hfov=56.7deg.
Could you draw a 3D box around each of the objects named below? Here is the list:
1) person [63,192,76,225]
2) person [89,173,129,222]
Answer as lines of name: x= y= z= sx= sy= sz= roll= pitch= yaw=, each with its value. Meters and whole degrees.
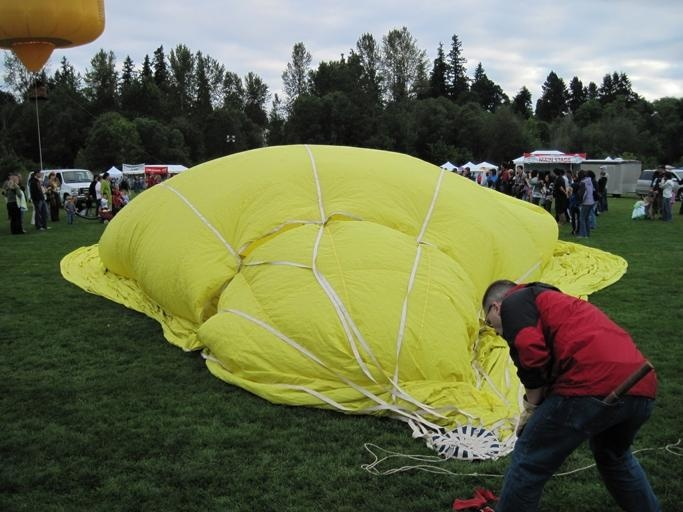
person: x=-7.541 y=-1.247 z=17.400 sx=0.260 sy=0.750 sz=0.906 roll=-3 pitch=9 yaw=-26
person: x=-6.647 y=-1.652 z=18.066 sx=0.846 sy=1.363 sz=1.824 roll=-2 pitch=9 yaw=-21
